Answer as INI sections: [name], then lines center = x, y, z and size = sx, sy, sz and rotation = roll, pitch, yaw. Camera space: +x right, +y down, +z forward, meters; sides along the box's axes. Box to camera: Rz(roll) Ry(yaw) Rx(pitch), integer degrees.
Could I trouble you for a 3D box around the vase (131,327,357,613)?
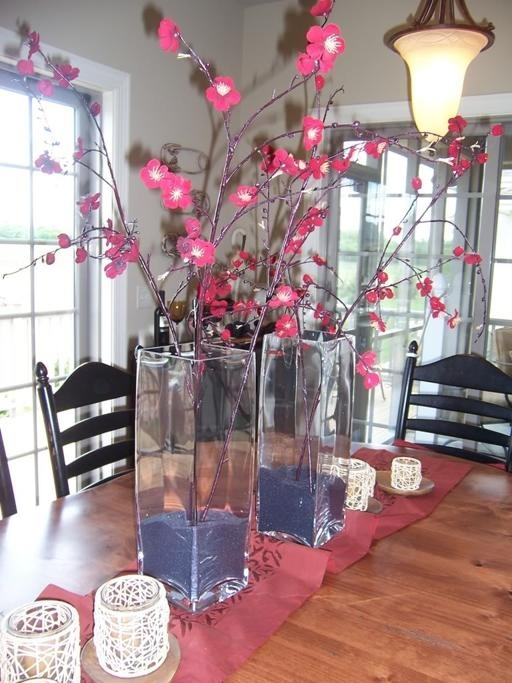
[vase]
center = -0.010, 0.183, 0.754
size = 0.135, 0.335, 0.375
rotation = 5, 7, 39
